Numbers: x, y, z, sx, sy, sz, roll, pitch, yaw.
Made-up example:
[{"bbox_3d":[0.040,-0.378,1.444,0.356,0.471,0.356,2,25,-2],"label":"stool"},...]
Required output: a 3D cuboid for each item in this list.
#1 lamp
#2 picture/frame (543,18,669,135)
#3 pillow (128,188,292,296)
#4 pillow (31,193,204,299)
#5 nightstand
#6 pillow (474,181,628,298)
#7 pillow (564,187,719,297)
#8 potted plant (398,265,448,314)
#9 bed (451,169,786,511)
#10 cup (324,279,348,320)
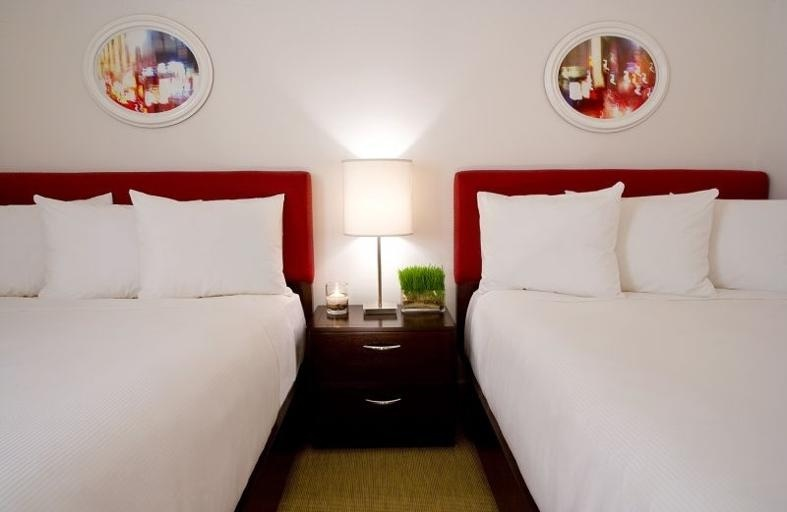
[{"bbox_3d":[-0.079,-0.101,3.077,0.428,0.881,0.287,0,1,-5],"label":"lamp"},{"bbox_3d":[1.249,-1.101,3.174,0.591,0.606,0.043,0,6,-2],"label":"picture/frame"},{"bbox_3d":[-0.973,-0.043,2.908,0.795,0.587,0.190,-1,2,-16],"label":"pillow"},{"bbox_3d":[-1.630,-0.047,2.839,0.569,0.539,0.160,0,1,-1],"label":"pillow"},{"bbox_3d":[-0.063,0.682,3.141,0.814,0.718,0.659,-2,9,-8],"label":"nightstand"},{"bbox_3d":[0.861,-0.074,2.961,0.790,0.621,0.294,0,1,15],"label":"pillow"},{"bbox_3d":[1.405,-0.060,2.903,0.598,0.512,0.215,1,4,27],"label":"pillow"},{"bbox_3d":[0.167,0.157,3.064,0.256,0.295,0.165,-1,25,7],"label":"potted plant"},{"bbox_3d":[1.054,0.398,3.013,1.584,1.350,1.734,-1,5,-1],"label":"bed"},{"bbox_3d":[-0.325,0.246,3.054,0.145,0.169,0.134,-2,3,0],"label":"cup"}]
